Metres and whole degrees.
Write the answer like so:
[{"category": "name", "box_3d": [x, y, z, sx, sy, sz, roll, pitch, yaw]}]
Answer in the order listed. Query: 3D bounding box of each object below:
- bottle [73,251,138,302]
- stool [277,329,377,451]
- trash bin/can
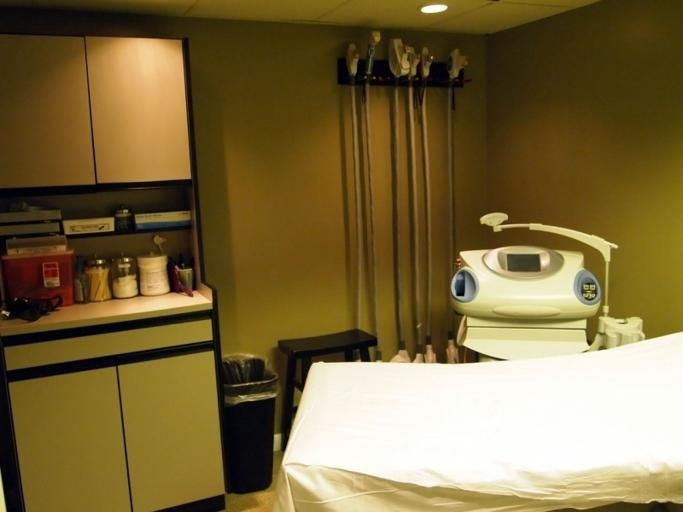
[{"category": "bottle", "box_3d": [-1.442, 0.122, 3.427, 0.282, 0.235, 0.299, 0, 4, 0]}, {"category": "stool", "box_3d": [-0.085, 1.005, 3.938, 0.638, 0.867, 0.426, -3, 2, -19]}, {"category": "trash bin/can", "box_3d": [-0.570, 1.035, 3.612, 0.348, 0.829, 0.485, -4, 8, -9]}]
